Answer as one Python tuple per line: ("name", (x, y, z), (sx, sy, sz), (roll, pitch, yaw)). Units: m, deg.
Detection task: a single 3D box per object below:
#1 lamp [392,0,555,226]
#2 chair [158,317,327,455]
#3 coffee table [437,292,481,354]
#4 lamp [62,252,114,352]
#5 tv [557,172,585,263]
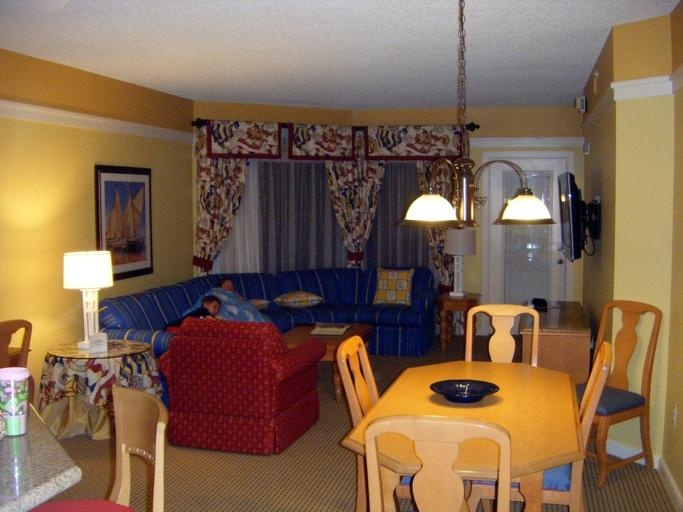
("lamp", (1.069, -0.964, 4.152), (0.769, 1.718, 3.142), (2, 8, 14))
("chair", (-0.762, 0.899, 4.570), (1.113, 1.035, 1.068), (1, 4, 20))
("coffee table", (1.452, 0.751, 7.006), (0.603, 0.832, 1.089), (0, 3, 10))
("lamp", (-2.147, 0.370, 4.637), (0.364, 0.801, 0.685), (-5, 9, -27))
("tv", (2.349, -0.401, 5.558), (0.245, 0.936, 1.122), (1, 5, 14))
